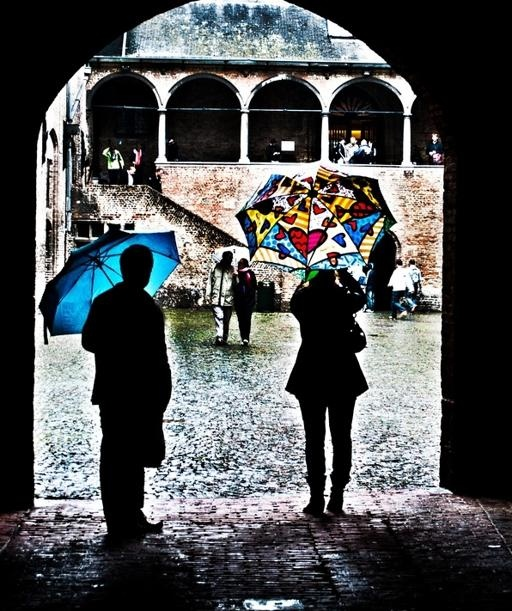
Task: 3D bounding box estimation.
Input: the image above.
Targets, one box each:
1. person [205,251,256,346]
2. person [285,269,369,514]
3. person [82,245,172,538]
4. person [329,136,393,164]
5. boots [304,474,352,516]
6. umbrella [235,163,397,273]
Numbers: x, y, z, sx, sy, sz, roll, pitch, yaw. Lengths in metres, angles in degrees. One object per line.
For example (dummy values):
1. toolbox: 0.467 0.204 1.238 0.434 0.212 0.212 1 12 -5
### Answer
1. person: -0.349 -0.094 14.474 0.650 1.366 0.761 -4 6 -41
2. person: 0.441 0.527 6.151 0.503 1.470 0.405 0 5 -1
3. person: -0.733 0.485 5.647 0.499 1.633 0.330 0 5 -8
4. person: 2.980 -4.398 29.166 1.276 1.207 0.310 -1 -5 15
5. boots: 0.431 1.168 6.083 0.231 0.251 0.214 0 6 -13
6. umbrella: 0.469 -0.672 7.830 1.208 0.811 0.527 0 5 -1
